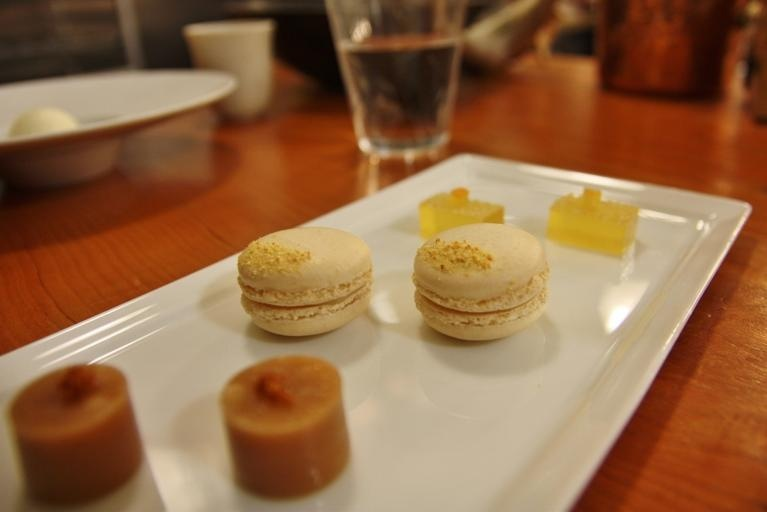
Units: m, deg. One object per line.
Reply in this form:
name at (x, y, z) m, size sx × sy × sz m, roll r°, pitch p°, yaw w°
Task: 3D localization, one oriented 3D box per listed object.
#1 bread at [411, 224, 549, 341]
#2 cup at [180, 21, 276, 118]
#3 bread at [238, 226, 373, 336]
bread at (0.101, 0.021, 0.541) m, size 0.128 × 0.078 × 0.126 m, roll 13°, pitch 40°, yaw 20°
cup at (-0.137, -0.177, 0.466) m, size 0.055 × 0.054 × 0.053 m, roll 4°, pitch 46°, yaw -4°
bread at (-0.079, -0.003, 0.511) m, size 0.112 × 0.060 × 0.109 m, roll -8°, pitch 27°, yaw -15°
